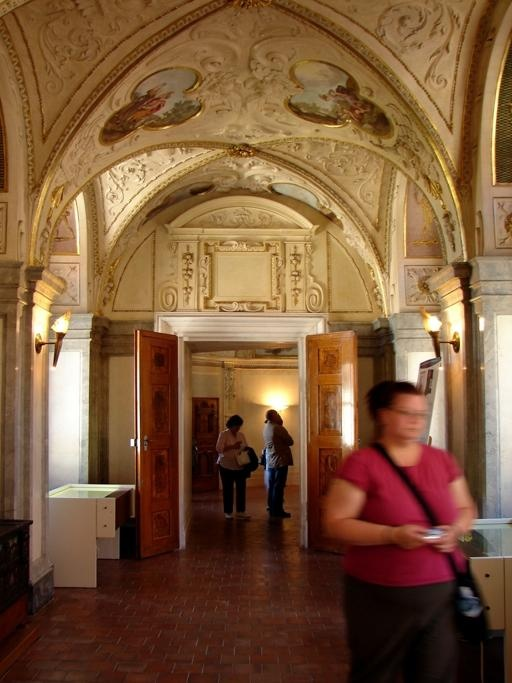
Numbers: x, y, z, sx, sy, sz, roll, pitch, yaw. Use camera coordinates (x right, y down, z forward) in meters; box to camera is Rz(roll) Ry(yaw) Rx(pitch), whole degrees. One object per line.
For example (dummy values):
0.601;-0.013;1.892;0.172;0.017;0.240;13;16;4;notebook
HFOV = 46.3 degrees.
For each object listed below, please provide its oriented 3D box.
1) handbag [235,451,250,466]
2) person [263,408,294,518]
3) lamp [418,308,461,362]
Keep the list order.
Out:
-0.215;1.753;8.972;0.201;0.212;0.079;-13;-24;-35;handbag
0.347;1.936;9.638;0.475;1.675;0.783;0;-8;0;person
1.719;-0.078;5.627;0.296;0.475;0.192;-8;5;9;lamp
